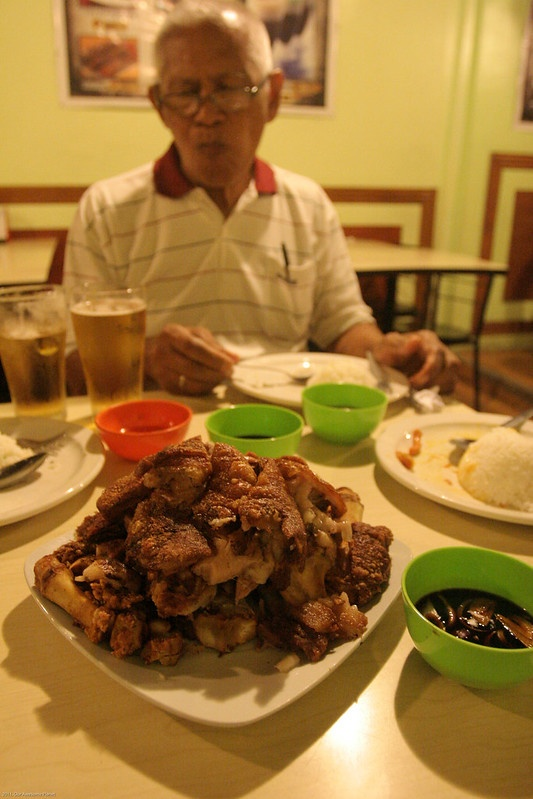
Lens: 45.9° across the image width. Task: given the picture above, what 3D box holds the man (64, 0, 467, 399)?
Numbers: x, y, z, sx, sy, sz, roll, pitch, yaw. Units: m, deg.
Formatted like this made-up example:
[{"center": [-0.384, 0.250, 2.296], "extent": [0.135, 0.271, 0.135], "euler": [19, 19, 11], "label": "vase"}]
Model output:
[{"center": [-0.031, -0.756, 2.172], "extent": [1.090, 1.432, 0.825], "euler": [-12, 31, -22], "label": "man"}]

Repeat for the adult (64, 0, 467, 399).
[{"center": [-0.031, -0.756, 2.172], "extent": [1.090, 1.432, 0.825], "euler": [-12, 31, -22], "label": "adult"}]

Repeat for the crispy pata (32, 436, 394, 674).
[{"center": [-0.041, 0.176, 0.646], "extent": [0.264, 0.111, 0.258], "euler": [20, 25, 40], "label": "crispy pata"}]
